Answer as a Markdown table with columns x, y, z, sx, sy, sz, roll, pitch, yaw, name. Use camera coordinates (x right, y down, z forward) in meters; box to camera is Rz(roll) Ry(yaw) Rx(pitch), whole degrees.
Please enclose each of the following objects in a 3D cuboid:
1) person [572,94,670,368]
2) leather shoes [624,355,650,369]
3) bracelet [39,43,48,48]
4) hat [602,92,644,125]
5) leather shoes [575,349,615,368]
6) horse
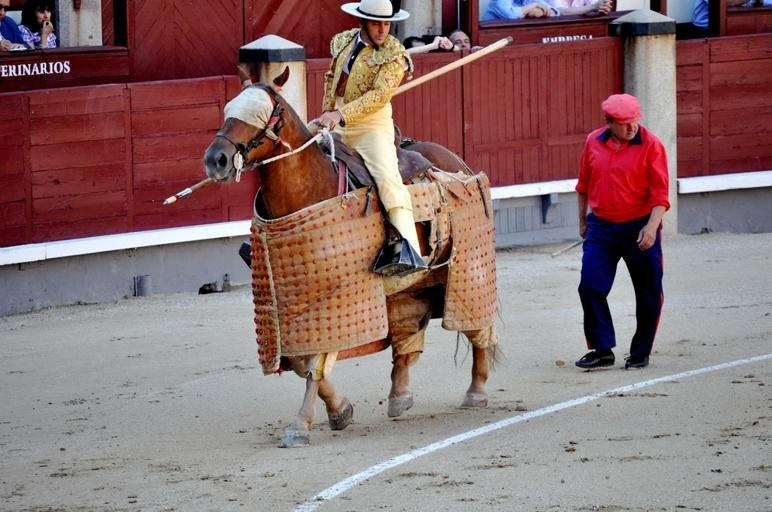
| x | y | z | sx | sy | sz | roll | pitch | yaw | name |
| --- | --- | --- | --- | --- | --- | --- | --- | --- | --- |
| 1.871 | -0.194 | 10.412 | 0.696 | 2.131 | 0.701 | -1 | 16 | 7 | person |
| 1.976 | 0.840 | 10.404 | 0.236 | 0.088 | 0.072 | -10 | 51 | 10 | leather shoes |
| -3.502 | -2.123 | 13.484 | 0.105 | 0.062 | 0.073 | -1 | -1 | 5 | bracelet |
| 1.820 | -1.129 | 10.195 | 0.271 | 0.207 | 0.286 | 0 | 15 | 7 | hat |
| 1.675 | 0.810 | 10.458 | 0.356 | 0.124 | 0.126 | -1 | 4 | -6 | leather shoes |
| -0.169 | -0.047 | 9.856 | 1.020 | 2.506 | 3.226 | 0 | 5 | 34 | horse |
